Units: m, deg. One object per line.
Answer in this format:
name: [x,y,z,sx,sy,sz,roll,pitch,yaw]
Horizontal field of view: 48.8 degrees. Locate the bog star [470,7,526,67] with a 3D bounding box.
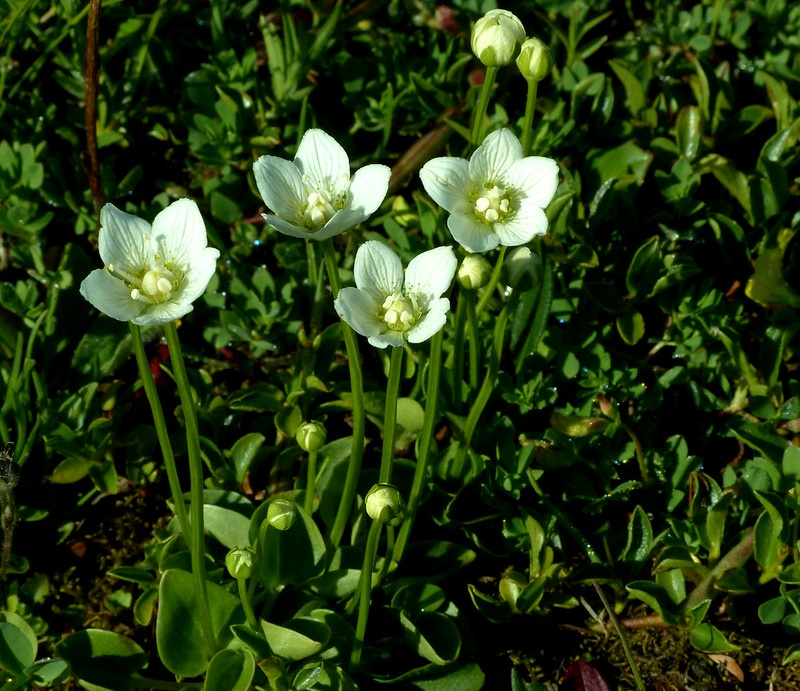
bog star: [0.218,-0.677,1.984,0.131,0.135,0.122,-5,34,7]

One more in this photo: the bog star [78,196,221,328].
bog star: [-0.551,-0.143,1.890,0.230,0.303,0.119,-7,29,-45]

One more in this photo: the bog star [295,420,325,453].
bog star: [-0.198,0.208,1.968,0.054,0.071,0.069,11,28,-13]

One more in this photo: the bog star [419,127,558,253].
bog star: [0.197,-0.350,2.084,0.299,0.318,0.143,17,61,-47]

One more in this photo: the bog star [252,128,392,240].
bog star: [-0.153,-0.315,2.043,0.260,0.332,0.152,1,68,-11]

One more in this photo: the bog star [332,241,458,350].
bog star: [-0.010,-0.109,1.868,0.189,0.119,0.278,-7,71,6]

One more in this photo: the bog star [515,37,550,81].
bog star: [0.299,-0.613,1.946,0.058,0.070,0.077,7,4,34]

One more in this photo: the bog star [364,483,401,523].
bog star: [-0.036,0.327,1.829,0.064,0.086,0.049,7,-1,7]

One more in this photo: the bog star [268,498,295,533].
bog star: [-0.252,0.356,1.877,0.053,0.060,0.050,19,44,-6]

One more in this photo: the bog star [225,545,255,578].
bog star: [-0.330,0.460,1.836,0.045,0.067,0.063,1,23,-3]
